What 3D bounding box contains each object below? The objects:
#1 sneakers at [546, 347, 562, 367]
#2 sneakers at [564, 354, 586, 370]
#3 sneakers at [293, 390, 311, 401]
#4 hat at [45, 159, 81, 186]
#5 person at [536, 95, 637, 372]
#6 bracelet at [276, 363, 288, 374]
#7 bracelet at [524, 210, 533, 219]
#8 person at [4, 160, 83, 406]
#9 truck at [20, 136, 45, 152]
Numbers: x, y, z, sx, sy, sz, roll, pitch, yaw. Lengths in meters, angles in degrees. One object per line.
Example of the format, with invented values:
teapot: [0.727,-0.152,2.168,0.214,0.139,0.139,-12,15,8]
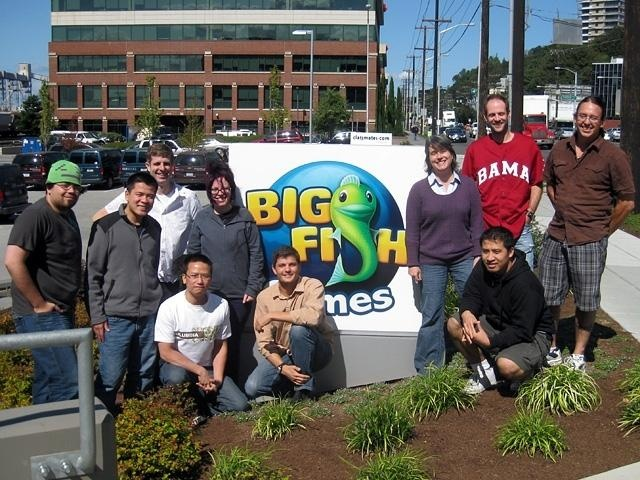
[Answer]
sneakers: [2.437,1.210,6.153,0.111,0.172,0.332,-5,-9,25]
sneakers: [2.557,1.238,5.945,0.134,0.171,0.397,-2,-13,30]
sneakers: [-0.173,1.627,6.236,0.181,0.125,0.179,-2,-8,38]
hat: [-2.402,-0.615,5.514,0.297,0.201,0.217,-2,-2,31]
person: [2.709,-0.064,6.050,0.858,2.698,0.439,2,6,23]
bracelet: [-0.398,1.336,6.188,0.097,0.034,0.093,-45,-15,-32]
bracelet: [2.256,-0.269,6.357,0.061,0.061,0.088,1,-7,7]
person: [-2.474,0.411,5.394,0.685,2.225,0.716,-5,7,-33]
truck: [-18.705,-6.140,38.526,1.121,0.836,2.922,-5,9,-26]
